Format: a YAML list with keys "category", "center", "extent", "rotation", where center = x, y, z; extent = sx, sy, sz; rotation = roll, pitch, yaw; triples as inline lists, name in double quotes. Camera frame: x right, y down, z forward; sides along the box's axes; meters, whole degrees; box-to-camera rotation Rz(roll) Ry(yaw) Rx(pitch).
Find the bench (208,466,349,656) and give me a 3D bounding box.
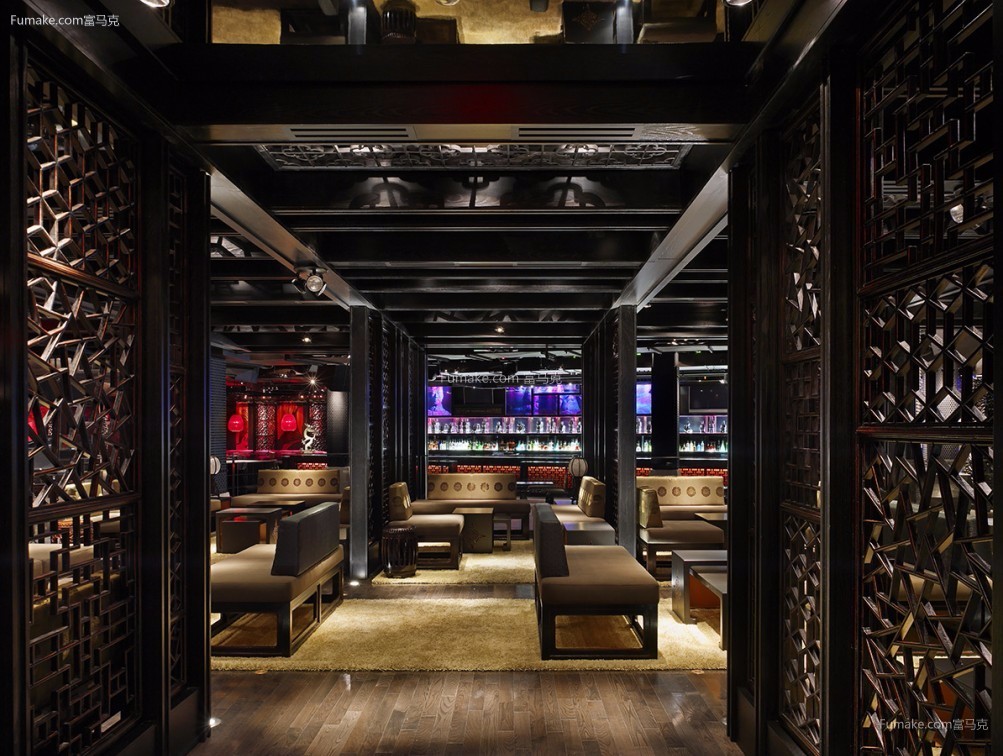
- category: "bench"
  center: [-1.940, 1.613, 6.650]
  extent: [0.547, 0.793, 1.504]
  rotation: [1, -5, 4]
